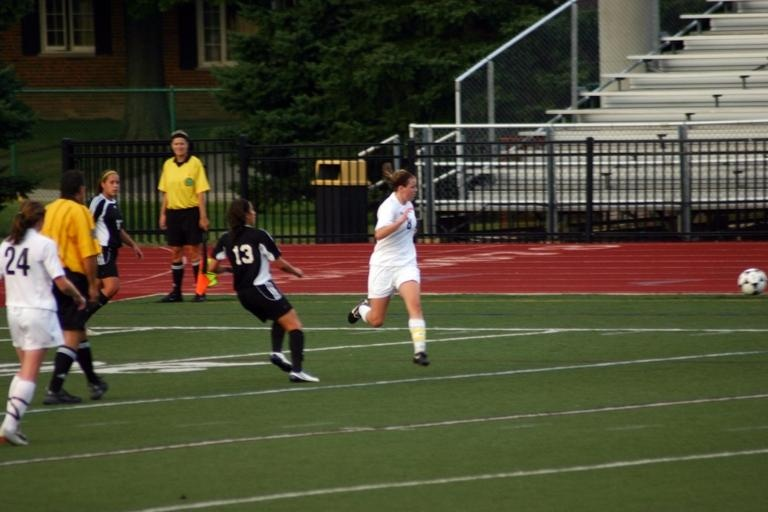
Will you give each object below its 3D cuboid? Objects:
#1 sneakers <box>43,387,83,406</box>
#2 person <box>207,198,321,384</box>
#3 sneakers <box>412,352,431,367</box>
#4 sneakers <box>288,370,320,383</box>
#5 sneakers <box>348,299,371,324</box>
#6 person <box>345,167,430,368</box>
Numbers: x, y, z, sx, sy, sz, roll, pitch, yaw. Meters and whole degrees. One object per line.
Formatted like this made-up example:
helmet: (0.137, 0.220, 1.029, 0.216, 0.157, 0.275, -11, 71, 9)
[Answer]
sneakers: (-3.840, 1.683, 15.999, 0.525, 0.155, 0.167, -1, 0, -6)
person: (-1.441, 0.417, 16.686, 1.161, 2.213, 0.418, 1, 7, 23)
sneakers: (0.468, 1.275, 16.699, 0.196, 0.223, 0.407, -1, 5, 0)
sneakers: (-0.992, 1.480, 16.547, 0.446, 0.124, 0.132, 0, -1, -2)
sneakers: (-0.309, 0.769, 17.847, 0.295, 0.482, 0.185, 5, 37, -11)
person: (0.184, 0.129, 17.039, 0.593, 2.402, 1.482, -5, 7, -25)
